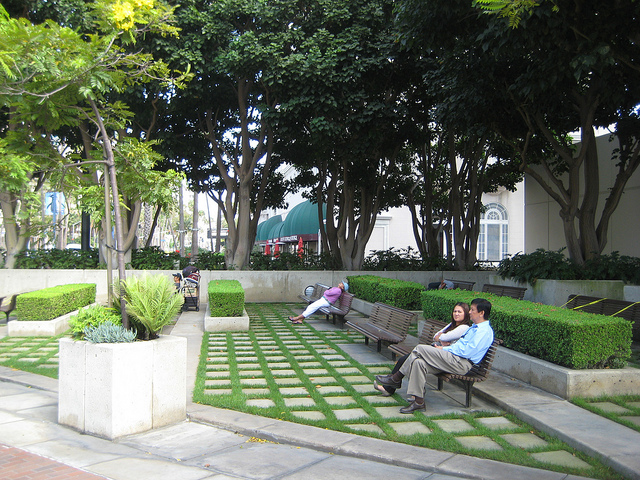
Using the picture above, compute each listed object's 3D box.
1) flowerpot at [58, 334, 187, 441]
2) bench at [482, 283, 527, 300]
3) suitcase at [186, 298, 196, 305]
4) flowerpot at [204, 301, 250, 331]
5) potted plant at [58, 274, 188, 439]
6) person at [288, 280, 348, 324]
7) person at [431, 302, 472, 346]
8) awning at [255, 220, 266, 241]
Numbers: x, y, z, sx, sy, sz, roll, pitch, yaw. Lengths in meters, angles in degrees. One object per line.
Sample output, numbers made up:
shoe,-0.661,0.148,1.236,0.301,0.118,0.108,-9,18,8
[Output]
flowerpot,-3.111,2.133,8.477,1.447,1.434,1.505,-1,-5,41
bench,5.632,1.574,16.127,0.615,0.397,2.224,0,5,-3
suitcase,-4.670,2.306,19.245,0.274,0.259,0.425,2,-3,-26
flowerpot,-2.674,2.248,15.252,1.266,0.737,0.899,-1,5,-13
potted plant,-3.106,1.808,8.417,1.898,2.341,1.182,-2,6,-19
person,0.114,1.938,16.053,0.676,0.902,2.297,4,4,-27
person,2.471,1.601,9.689,0.734,0.984,0.577,6,1,-3
awning,-6.849,-0.773,61.217,0.750,2.438,5.863,-1,5,-8
